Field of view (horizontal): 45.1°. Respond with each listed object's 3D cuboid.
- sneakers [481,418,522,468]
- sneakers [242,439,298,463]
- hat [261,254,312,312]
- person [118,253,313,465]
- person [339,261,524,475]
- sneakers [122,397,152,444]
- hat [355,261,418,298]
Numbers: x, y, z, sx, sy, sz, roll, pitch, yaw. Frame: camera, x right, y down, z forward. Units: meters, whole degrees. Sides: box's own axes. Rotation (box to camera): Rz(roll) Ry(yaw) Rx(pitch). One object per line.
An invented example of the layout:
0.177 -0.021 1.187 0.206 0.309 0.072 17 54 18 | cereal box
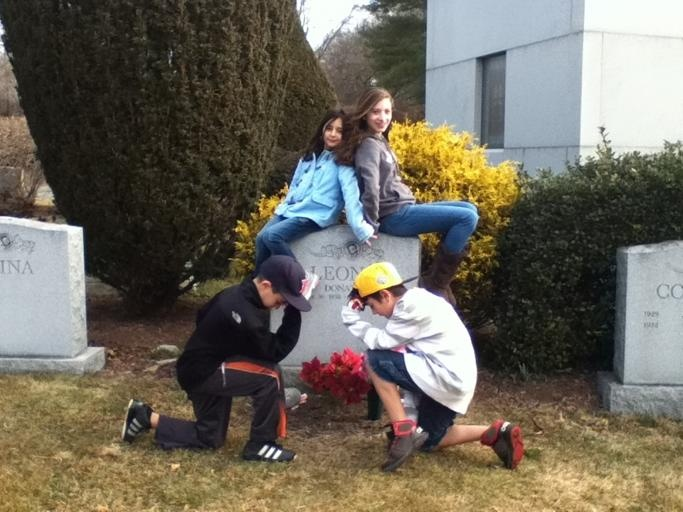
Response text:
1.252 1.412 6.245 0.205 0.467 0.196 15 31 41 | sneakers
-0.552 1.491 6.292 0.416 0.179 0.156 0 1 -3 | sneakers
-0.415 0.168 6.330 0.465 0.252 0.299 38 17 3 | hat
-0.817 0.740 6.300 1.111 1.500 0.363 2 7 -2 | person
0.650 0.834 6.256 1.374 1.496 0.591 3 7 6 | person
-1.590 1.272 6.333 0.194 0.429 0.144 11 11 -6 | sneakers
0.337 0.246 6.492 0.352 0.274 0.540 17 -3 21 | hat
